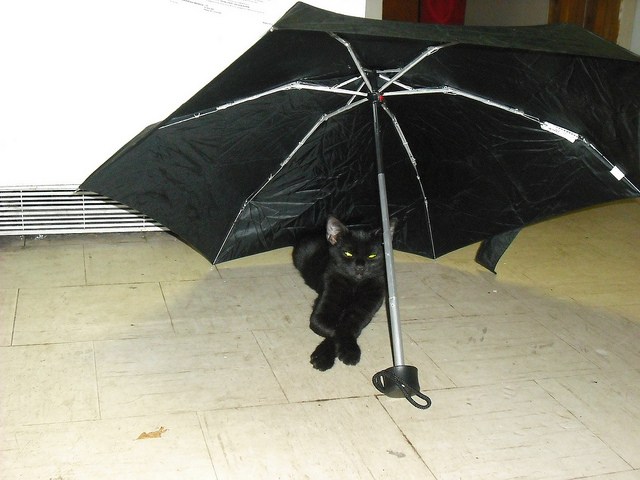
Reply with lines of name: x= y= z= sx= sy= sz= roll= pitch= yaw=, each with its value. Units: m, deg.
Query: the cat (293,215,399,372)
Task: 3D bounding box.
cat: x=0.096 y=0.216 z=2.377 sx=0.291 sy=0.335 sz=0.797 roll=9 pitch=30 yaw=-4
